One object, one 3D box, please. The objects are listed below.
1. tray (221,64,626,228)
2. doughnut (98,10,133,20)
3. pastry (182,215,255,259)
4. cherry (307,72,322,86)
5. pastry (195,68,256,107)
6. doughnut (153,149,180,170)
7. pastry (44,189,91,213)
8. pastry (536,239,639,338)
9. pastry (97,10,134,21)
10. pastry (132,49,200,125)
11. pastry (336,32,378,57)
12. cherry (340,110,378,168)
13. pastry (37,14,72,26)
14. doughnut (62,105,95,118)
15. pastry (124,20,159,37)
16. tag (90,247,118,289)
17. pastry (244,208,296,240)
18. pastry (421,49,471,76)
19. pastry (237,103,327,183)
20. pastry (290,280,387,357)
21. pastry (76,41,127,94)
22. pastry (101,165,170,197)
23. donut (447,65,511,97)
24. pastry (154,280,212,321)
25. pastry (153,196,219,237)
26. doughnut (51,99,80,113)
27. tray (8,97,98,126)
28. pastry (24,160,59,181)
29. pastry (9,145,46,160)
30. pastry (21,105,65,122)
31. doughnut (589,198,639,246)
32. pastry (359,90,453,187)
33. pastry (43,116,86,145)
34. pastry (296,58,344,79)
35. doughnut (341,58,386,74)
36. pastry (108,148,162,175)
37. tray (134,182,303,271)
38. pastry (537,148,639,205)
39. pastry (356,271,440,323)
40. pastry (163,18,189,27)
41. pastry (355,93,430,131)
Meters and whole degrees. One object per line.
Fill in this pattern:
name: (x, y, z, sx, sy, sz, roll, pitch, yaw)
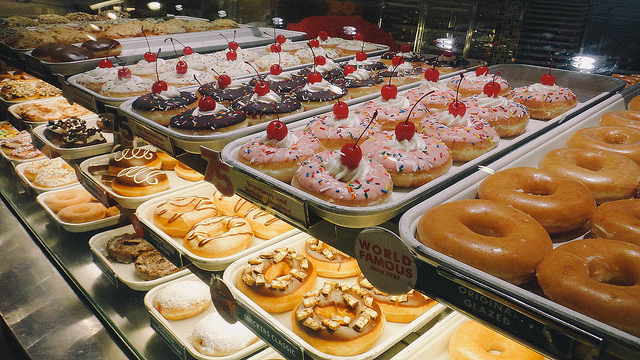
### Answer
tray: (1.230, -0.279, 2.923, 2.858, 0.242, 1.383, -20, 31, -31)
doughnut: (-2.597, -2.076, 5.283, 0.253, 0.085, 0.277, -4, 16, -17)
pastry: (-0.777, 0.430, 3.321, 0.521, 0.166, 0.489, 3, 32, 9)
cherry: (-0.044, -0.833, 3.422, 0.112, 0.046, 0.100, 11, 50, 17)
pastry: (-0.806, -0.811, 3.571, 0.476, 0.247, 0.483, 23, 35, 35)
doughnut: (-1.414, -0.171, 3.900, 0.290, 0.078, 0.260, 2, 17, -8)
pastry: (-2.615, 0.184, 4.355, 0.331, 0.094, 0.290, 7, 17, 6)
pastry: (1.308, 0.541, 2.060, 0.437, 0.141, 0.434, -25, 30, -36)
pastry: (-2.589, -2.079, 5.299, 0.295, 0.081, 0.232, 7, 20, 10)
pastry: (-1.250, -0.705, 3.272, 0.521, 0.484, 0.466, -11, 40, -30)
pastry: (0.422, -1.486, 4.635, 0.469, 0.177, 0.422, 0, 17, 4)
cherry: (0.221, -0.236, 2.435, 0.169, 0.288, 0.252, 7, 37, 9)
pastry: (-3.162, -1.904, 4.982, 0.213, 0.062, 0.182, 17, 24, 21)
doughnut: (-2.670, -0.750, 4.632, 0.289, 0.059, 0.260, 12, 24, 5)
pastry: (-2.151, -1.841, 5.159, 0.297, 0.089, 0.329, 5, 18, 1)
tag: (-1.956, 0.802, 3.819, 0.081, 0.302, 0.307, -46, 10, -12)
pastry: (-0.449, 0.333, 3.508, 0.492, 0.138, 0.439, 12, 16, -10)
pastry: (1.210, -1.196, 4.063, 0.392, 0.146, 0.352, -8, 21, -12)
pastry: (-0.228, -0.239, 2.716, 0.517, 0.320, 0.460, 0, 23, -1)
pastry: (0.122, 0.920, 2.826, 0.591, 0.203, 0.475, 9, 35, 12)
pastry: (-1.939, -1.014, 3.706, 0.421, 0.338, 0.392, -10, 21, -31)
pastry: (-1.525, -0.001, 3.717, 0.549, 0.181, 0.429, -8, 24, -24)
donut: (1.375, -0.853, 3.600, 0.505, 0.173, 0.437, -19, 33, -28)
pastry: (-1.115, 0.971, 3.447, 0.376, 0.153, 0.354, 1, 16, 3)
pastry: (-1.130, 0.278, 3.487, 0.499, 0.160, 0.457, 5, 25, 13)
doughnut: (-2.836, -0.820, 4.689, 0.319, 0.075, 0.286, 16, 12, -6)
tray: (-3.219, -0.852, 4.999, 0.730, 0.083, 0.457, -14, 31, -31)
pastry: (-3.194, -0.136, 4.751, 0.258, 0.065, 0.227, 6, 33, 1)
pastry: (-3.404, -0.313, 4.875, 0.334, 0.074, 0.235, 5, 16, 16)
pastry: (-3.003, -0.724, 4.596, 0.335, 0.082, 0.303, 8, 17, 3)
doughnut: (1.570, 0.231, 2.271, 0.244, 0.075, 0.229, 7, 28, 26)
pastry: (0.579, -0.378, 2.747, 0.466, 0.291, 0.440, 1, -19, 20)
pastry: (-2.536, -0.522, 4.135, 0.345, 0.119, 0.376, -18, 22, -36)
pastry: (0.039, -1.029, 3.932, 0.318, 0.109, 0.303, 6, 19, 27)
doughnut: (0.439, -1.129, 4.123, 0.291, 0.074, 0.270, 10, 23, 16)
pastry: (-1.645, -0.210, 3.685, 0.324, 0.138, 0.293, 3, 13, 3)
tray: (-1.033, 0.380, 3.266, 0.939, 0.091, 0.913, 20, 28, 39)
pastry: (1.664, -0.060, 2.594, 0.448, 0.145, 0.441, 20, 35, 33)
pastry: (0.541, 0.840, 2.920, 0.566, 0.145, 0.541, 8, 16, 25)
pastry: (-1.805, -2.018, 5.367, 0.207, 0.048, 0.189, 14, 25, 24)
pastry: (0.557, -0.519, 3.157, 0.431, 0.134, 0.352, 3, 24, 13)
